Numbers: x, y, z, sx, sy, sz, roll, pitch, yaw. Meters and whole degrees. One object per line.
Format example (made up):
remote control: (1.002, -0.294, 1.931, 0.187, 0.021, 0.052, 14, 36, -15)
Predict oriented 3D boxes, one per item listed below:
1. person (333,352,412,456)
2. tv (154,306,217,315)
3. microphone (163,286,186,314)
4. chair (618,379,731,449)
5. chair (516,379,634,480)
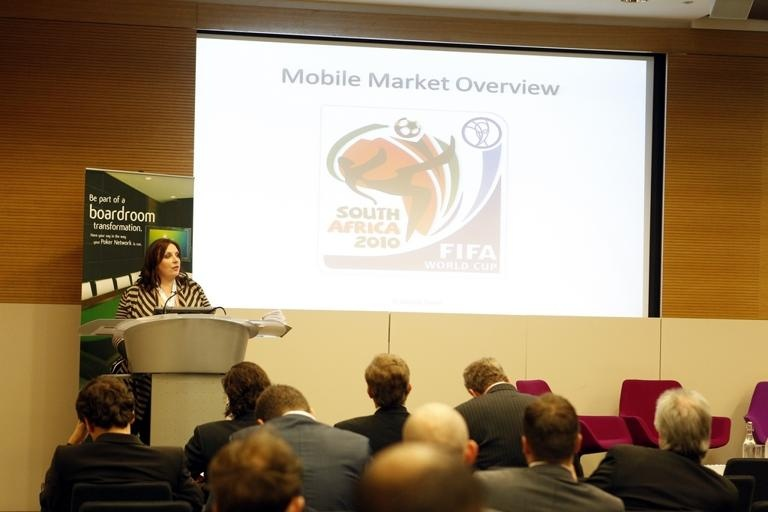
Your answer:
person: (0.042, 1.040, 4.369, 0.796, 0.714, 0.395, -1, -10, 0)
tv: (-1.430, 0.389, 4.605, 0.341, 0.057, 0.670, 1, -5, -25)
microphone: (-1.774, 0.352, 5.297, 0.246, 0.245, 0.057, -1, -2, -7)
chair: (3.163, 1.913, 7.040, 1.024, 1.064, 0.880, -2, -5, 1)
chair: (2.058, 1.956, 7.051, 1.161, 1.115, 0.976, -1, -10, 32)
